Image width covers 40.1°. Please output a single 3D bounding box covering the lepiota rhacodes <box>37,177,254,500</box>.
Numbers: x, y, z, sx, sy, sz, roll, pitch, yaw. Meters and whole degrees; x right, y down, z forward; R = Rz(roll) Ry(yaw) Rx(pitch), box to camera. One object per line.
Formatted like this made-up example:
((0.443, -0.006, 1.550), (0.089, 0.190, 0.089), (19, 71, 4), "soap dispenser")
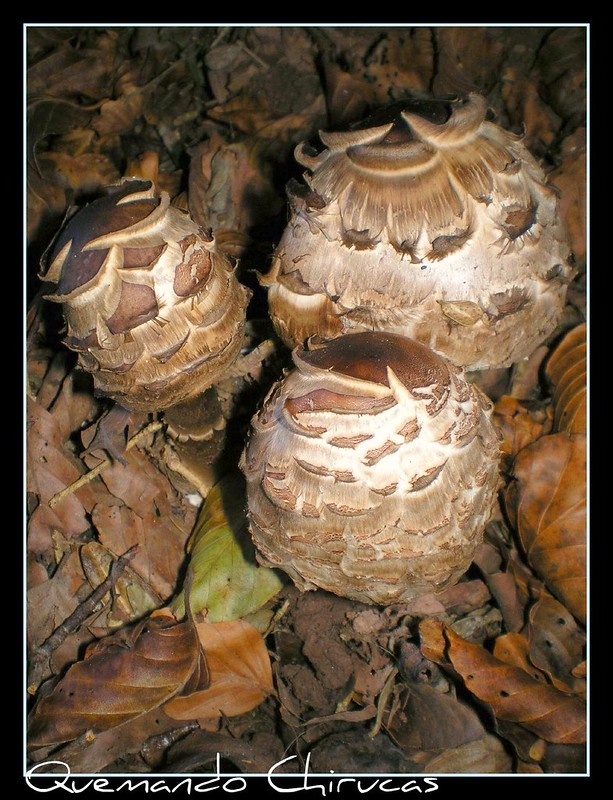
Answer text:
((-0.504, -0.313, 2.787), (0.641, 0.781, 0.350), (-14, 25, -8), "lepiota rhacodes")
